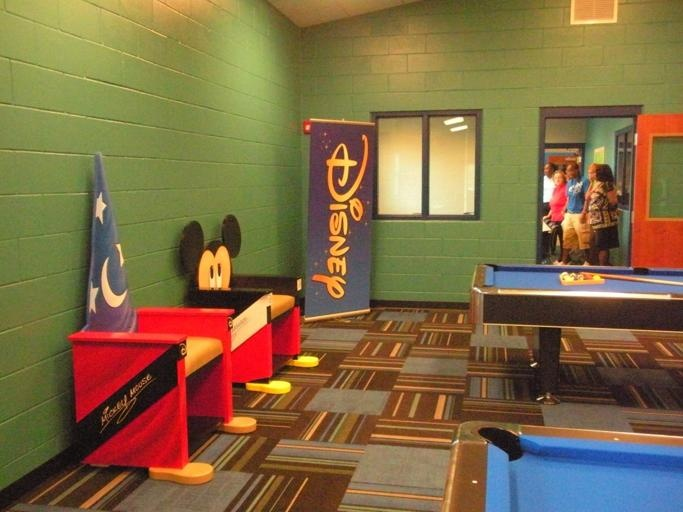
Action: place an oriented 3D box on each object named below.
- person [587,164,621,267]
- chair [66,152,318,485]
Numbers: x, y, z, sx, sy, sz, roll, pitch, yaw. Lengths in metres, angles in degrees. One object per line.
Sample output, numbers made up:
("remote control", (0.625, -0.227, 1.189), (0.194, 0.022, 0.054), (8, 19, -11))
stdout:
("person", (3.844, -0.604, 7.268), (0.412, 1.391, 0.557), (3, 13, 1))
("chair", (-1.095, 0.450, 3.608), (0.951, 1.754, 2.486), (0, 5, 8))
